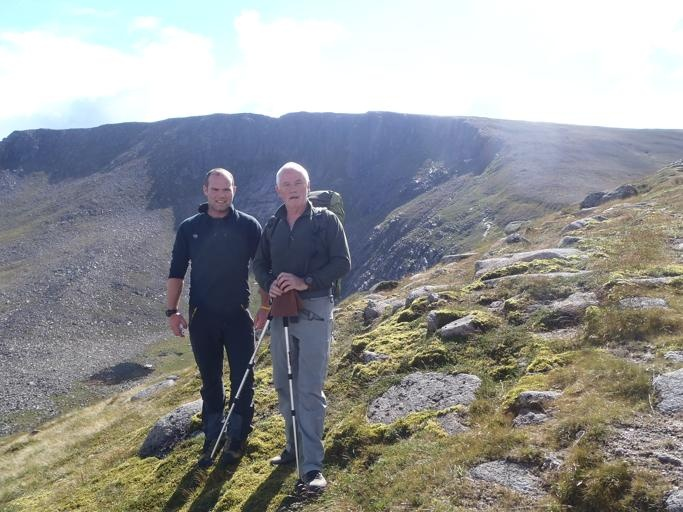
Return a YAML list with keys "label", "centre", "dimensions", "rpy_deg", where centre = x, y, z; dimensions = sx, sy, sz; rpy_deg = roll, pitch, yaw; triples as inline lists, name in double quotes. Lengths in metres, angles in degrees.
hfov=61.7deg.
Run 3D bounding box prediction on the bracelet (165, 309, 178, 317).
- label: "bracelet"
  centre: [-4.680, 1.608, 15.798]
  dimensions: [0.251, 0.138, 0.244]
  rpy_deg: [1, 0, -26]
